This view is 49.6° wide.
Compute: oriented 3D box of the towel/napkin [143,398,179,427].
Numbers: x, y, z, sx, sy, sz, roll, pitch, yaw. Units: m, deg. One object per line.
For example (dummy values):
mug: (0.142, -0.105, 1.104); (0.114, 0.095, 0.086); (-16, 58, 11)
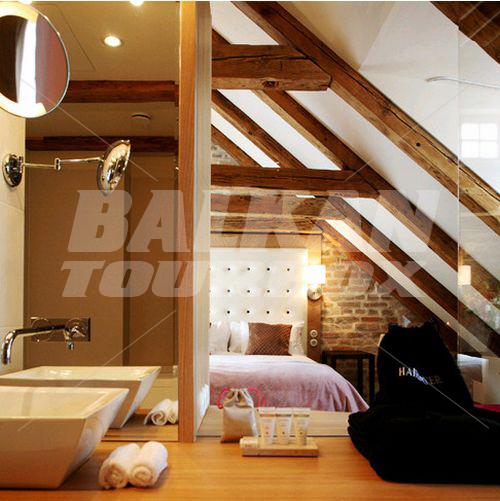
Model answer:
towel/napkin: (-0.270, 0.504, 1.692); (0.072, 0.036, 0.078); (0, -4, 4)

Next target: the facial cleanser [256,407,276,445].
facial cleanser: (0.048, 0.499, 1.540); (0.050, 0.108, 0.088); (-1, 6, 3)

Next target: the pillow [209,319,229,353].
pillow: (-0.286, 0.837, 5.229); (0.189, 0.226, 0.378); (-2, 6, -2)

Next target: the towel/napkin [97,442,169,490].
towel/napkin: (-0.284, 0.521, 1.306); (0.096, 0.043, 0.096); (-1, 2, 4)

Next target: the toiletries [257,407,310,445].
toiletries: (0.093, 0.498, 1.527); (0.108, 0.079, 0.024); (0, -18, 0)

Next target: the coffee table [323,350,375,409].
coffee table: (1.006, 1.325, 5.513); (0.404, 0.651, 0.470); (0, 1, 8)
